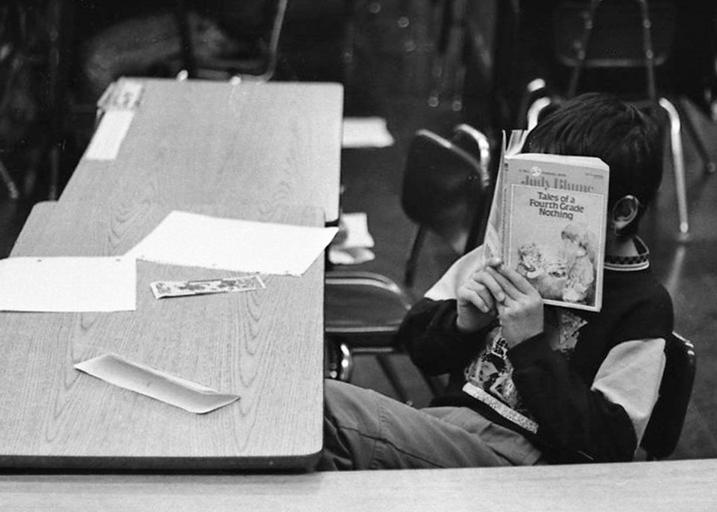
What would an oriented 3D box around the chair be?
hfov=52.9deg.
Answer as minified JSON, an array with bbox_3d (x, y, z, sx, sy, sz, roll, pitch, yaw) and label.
[{"bbox_3d":[0.356,0.104,1.701,0.553,0.851,0.624,31,-12,-5],"label":"chair"}]

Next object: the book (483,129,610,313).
[{"bbox_3d":[0.472,-0.099,1.547,0.323,0.320,0.245,-22,34,-22],"label":"book"}]
